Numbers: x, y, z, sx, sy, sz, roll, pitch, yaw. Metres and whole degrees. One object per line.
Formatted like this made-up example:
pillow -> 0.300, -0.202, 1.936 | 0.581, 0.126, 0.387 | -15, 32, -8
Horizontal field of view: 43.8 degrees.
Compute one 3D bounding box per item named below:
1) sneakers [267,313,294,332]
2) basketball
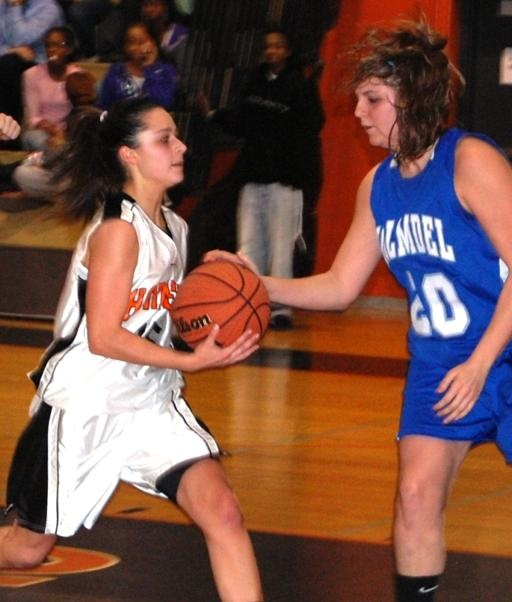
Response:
sneakers -> 0.162, 0.152, 4.290 | 0.148, 0.045, 0.132 | 7, -13, -28
basketball -> -0.065, 0.002, 1.286 | 0.203, 0.196, 0.206 | 6, 3, 42
